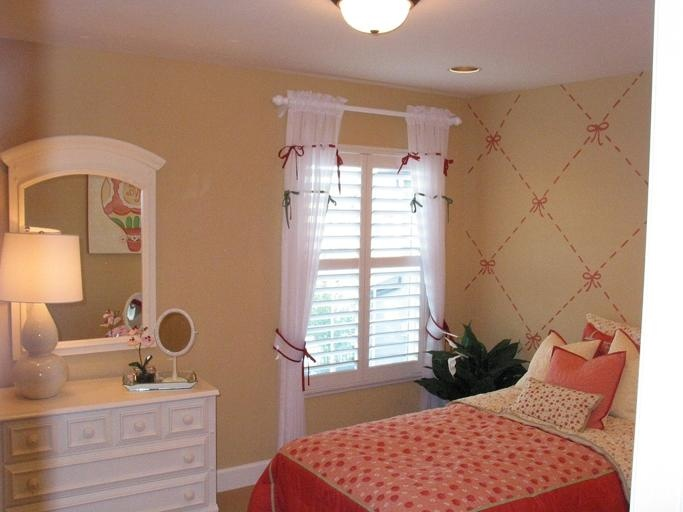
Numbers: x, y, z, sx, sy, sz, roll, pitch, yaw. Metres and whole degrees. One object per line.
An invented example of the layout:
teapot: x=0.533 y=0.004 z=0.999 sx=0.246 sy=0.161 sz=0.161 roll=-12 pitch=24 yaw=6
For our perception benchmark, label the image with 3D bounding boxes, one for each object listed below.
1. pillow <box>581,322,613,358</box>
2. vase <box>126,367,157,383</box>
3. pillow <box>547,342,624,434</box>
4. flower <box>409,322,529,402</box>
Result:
pillow: x=1.393 y=0.450 z=3.105 sx=0.041 sy=0.130 sz=0.136 roll=20 pitch=-1 yaw=-15
vase: x=-1.009 y=0.600 z=2.888 sx=0.091 sy=0.060 sz=0.092 roll=1 pitch=-3 yaw=-13
pillow: x=1.211 y=0.628 z=2.792 sx=0.107 sy=0.337 sz=0.344 roll=24 pitch=-13 yaw=-38
flower: x=0.895 y=0.729 z=3.738 sx=0.551 sy=0.360 sz=0.550 roll=-3 pitch=10 yaw=-8
